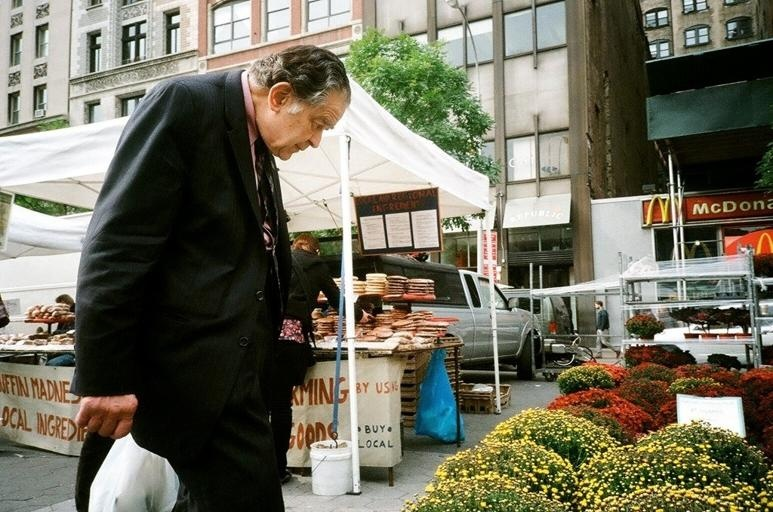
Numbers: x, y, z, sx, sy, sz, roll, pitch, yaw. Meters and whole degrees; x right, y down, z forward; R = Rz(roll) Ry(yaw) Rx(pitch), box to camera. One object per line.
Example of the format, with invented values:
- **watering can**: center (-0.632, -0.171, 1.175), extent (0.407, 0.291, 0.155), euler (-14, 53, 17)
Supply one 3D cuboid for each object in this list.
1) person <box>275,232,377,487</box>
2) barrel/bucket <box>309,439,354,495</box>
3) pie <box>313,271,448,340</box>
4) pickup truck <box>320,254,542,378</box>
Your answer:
- **person**: center (-0.852, 1.133, 9.676), extent (1.044, 2.673, 1.106), euler (0, 0, 25)
- **barrel/bucket**: center (-0.659, 2.580, 9.483), extent (0.537, 0.612, 0.624), euler (-1, 0, 5)
- **pie**: center (0.049, 0.673, 10.949), extent (1.168, 0.443, 1.223), euler (0, 0, -43)
- **pickup truck**: center (1.360, 1.363, 15.498), extent (2.157, 1.703, 4.797), euler (-7, -10, 41)
